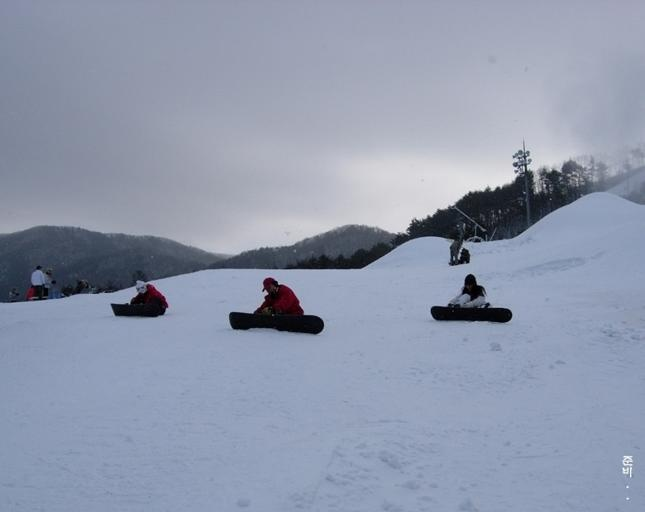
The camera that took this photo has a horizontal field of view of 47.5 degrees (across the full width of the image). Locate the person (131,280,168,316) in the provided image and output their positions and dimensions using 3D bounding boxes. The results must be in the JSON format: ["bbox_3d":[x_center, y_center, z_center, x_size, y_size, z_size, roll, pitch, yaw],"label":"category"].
[{"bbox_3d":[-4.430,1.096,19.045,0.867,1.122,0.749,-3,-5,-33],"label":"person"}]

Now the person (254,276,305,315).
[{"bbox_3d":[-0.913,1.036,16.109,1.039,1.237,0.800,-4,-1,-44],"label":"person"}]

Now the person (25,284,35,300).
[{"bbox_3d":[-10.411,1.356,26.203,0.279,0.460,0.813,-3,4,-23],"label":"person"}]

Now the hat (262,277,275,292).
[{"bbox_3d":[-1.158,0.602,16.074,0.246,0.358,0.342,-2,-17,-10],"label":"hat"}]

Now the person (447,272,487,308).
[{"bbox_3d":[3.478,0.794,17.197,0.640,0.927,0.877,-1,-2,29],"label":"person"}]

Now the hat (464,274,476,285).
[{"bbox_3d":[3.399,0.532,16.854,0.211,0.277,0.230,14,18,39],"label":"hat"}]
